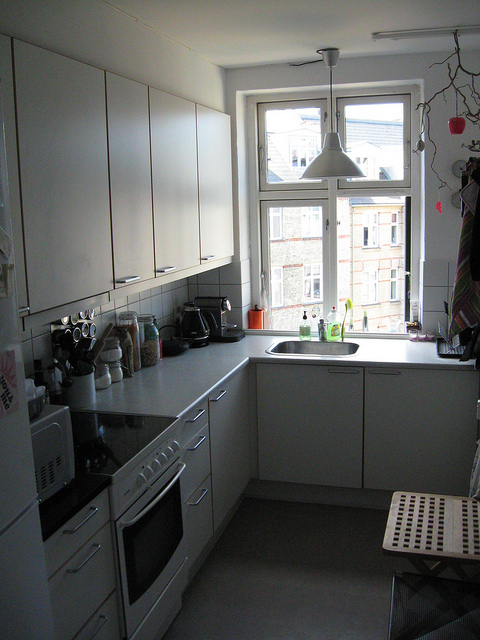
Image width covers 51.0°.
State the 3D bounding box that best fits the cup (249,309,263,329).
[{"bbox_3d":[0.117,-0.005,3.643,0.092,0.236,0.113,1,3,5],"label":"cup"}]

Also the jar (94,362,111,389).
[{"bbox_3d":[-0.634,0.265,2.327,0.074,0.113,0.081,2,3,0],"label":"jar"}]

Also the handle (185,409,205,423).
[{"bbox_3d":[-0.193,0.420,2.172,0.008,0.044,0.233,1,8,15],"label":"handle"}]

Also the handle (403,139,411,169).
[{"bbox_3d":[1.095,-1.081,3.291,0.036,0.184,0.027,1,6,21],"label":"handle"}]

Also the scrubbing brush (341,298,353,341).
[{"bbox_3d":[0.706,-0.045,3.329,0.061,0.396,0.071,5,6,18],"label":"scrubbing brush"}]

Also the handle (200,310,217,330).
[{"bbox_3d":[-0.210,0.003,3.383,0.108,0.132,0.039,-1,6,-2],"label":"handle"}]

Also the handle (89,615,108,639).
[{"bbox_3d":[-0.403,0.876,1.440,0.018,0.045,0.091,0,7,11],"label":"handle"}]

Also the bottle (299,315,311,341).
[{"bbox_3d":[0.449,0.049,3.465,0.075,0.157,0.295,0,7,9],"label":"bottle"}]

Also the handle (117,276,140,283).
[{"bbox_3d":[-0.445,-0.160,2.021,0.035,0.022,0.164,0,8,11],"label":"handle"}]

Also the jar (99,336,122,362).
[{"bbox_3d":[-0.623,0.144,2.421,0.077,0.111,0.094,1,2,4],"label":"jar"}]

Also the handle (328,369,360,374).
[{"bbox_3d":[0.579,0.298,2.831,0.082,0.012,0.016,2,11,16],"label":"handle"}]

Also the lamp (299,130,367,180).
[{"bbox_3d":[0.452,-0.818,2.482,0.286,0.257,0.205,-4,7,-25],"label":"lamp"}]

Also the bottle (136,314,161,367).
[{"bbox_3d":[-0.508,0.110,2.817,0.122,0.279,0.147,-6,5,-7],"label":"bottle"}]

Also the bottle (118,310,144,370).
[{"bbox_3d":[-0.583,0.116,2.652,0.107,0.308,0.161,-3,6,-16],"label":"bottle"}]

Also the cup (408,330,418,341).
[{"bbox_3d":[1.105,0.101,3.211,0.050,0.066,0.044,2,7,26],"label":"cup"}]

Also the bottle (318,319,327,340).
[{"bbox_3d":[0.549,0.066,3.346,0.049,0.132,0.068,-1,6,0],"label":"bottle"}]

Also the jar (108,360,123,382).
[{"bbox_3d":[-0.603,0.255,2.447,0.060,0.083,0.073,0,-2,5],"label":"jar"}]

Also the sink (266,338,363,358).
[{"bbox_3d":[0.485,0.199,3.240,0.581,0.105,0.285,-1,7,7],"label":"sink"}]

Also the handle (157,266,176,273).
[{"bbox_3d":[-0.343,-0.234,2.368,0.026,0.028,0.190,0,8,12],"label":"handle"}]

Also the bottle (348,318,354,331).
[{"bbox_3d":[0.769,0.040,3.478,0.021,0.086,0.065,2,7,26],"label":"bottle"}]

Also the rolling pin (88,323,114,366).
[{"bbox_3d":[-0.637,0.121,2.300,0.025,0.209,0.026,20,18,2],"label":"rolling pin"}]

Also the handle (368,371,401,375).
[{"bbox_3d":[0.796,0.296,2.764,0.166,0.016,0.014,0,7,14],"label":"handle"}]

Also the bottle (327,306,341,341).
[{"bbox_3d":[0.641,0.025,3.440,0.086,0.198,0.330,0,7,10],"label":"bottle"}]
